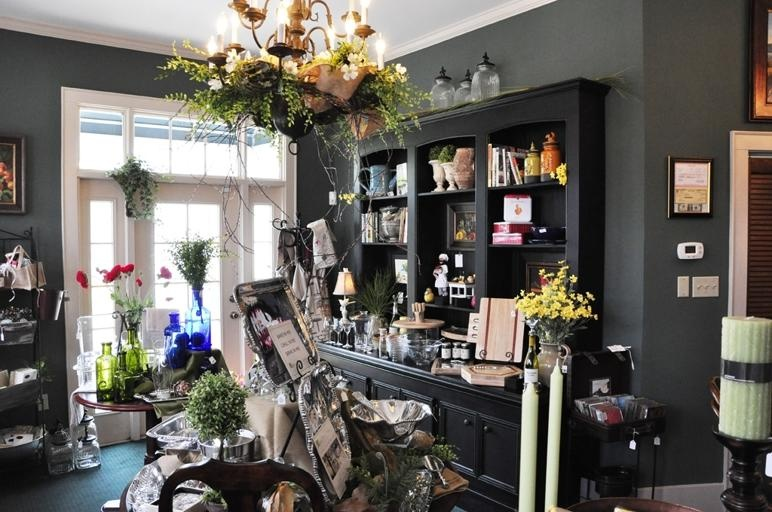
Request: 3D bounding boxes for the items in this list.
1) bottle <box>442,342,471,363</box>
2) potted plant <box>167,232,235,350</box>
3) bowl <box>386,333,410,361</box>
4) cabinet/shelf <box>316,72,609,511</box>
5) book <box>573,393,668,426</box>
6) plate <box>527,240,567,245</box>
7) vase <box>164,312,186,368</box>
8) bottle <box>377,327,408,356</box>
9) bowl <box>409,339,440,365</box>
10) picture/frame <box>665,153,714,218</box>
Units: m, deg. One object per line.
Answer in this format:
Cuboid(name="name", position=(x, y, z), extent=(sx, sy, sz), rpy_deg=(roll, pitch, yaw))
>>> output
Cuboid(name="bottle", position=(0.566, 0.779, 4.859), extent=(0.058, 0.102, 0.165), rpy_deg=(-2, 2, -44))
Cuboid(name="potted plant", position=(-1.381, 0.267, 4.386), extent=(0.293, 0.709, 0.365), rpy_deg=(-3, 1, -24))
Cuboid(name="bowl", position=(0.095, 0.757, 4.948), extent=(0.175, 0.215, 0.209), rpy_deg=(-1, -6, 9))
Cuboid(name="cabinet/shelf", position=(0.686, 0.330, 4.835), extent=(2.043, 3.107, 0.809), rpy_deg=(-2, 2, 43))
Cuboid(name="book", position=(1.583, 1.030, 4.083), extent=(0.582, 0.148, 0.241), rpy_deg=(-3, 1, -18))
Cuboid(name="plate", position=(1.194, -0.102, 4.550), extent=(0.277, 0.040, 0.060), rpy_deg=(-2, 1, 37))
Cuboid(name="vase", position=(-1.423, 0.572, 4.223), extent=(0.204, 0.375, 0.202), rpy_deg=(-5, 9, -34))
Cuboid(name="bottle", position=(0.077, 0.718, 5.071), extent=(0.224, 0.227, 0.213), rpy_deg=(6, -2, -22))
Cuboid(name="bowl", position=(0.298, 0.776, 4.894), extent=(0.229, 0.152, 0.197), rpy_deg=(4, -5, -35))
Cuboid(name="picture/frame", position=(2.148, -0.516, 4.328), extent=(0.468, 0.543, 0.041), rpy_deg=(0, 1, -14))
